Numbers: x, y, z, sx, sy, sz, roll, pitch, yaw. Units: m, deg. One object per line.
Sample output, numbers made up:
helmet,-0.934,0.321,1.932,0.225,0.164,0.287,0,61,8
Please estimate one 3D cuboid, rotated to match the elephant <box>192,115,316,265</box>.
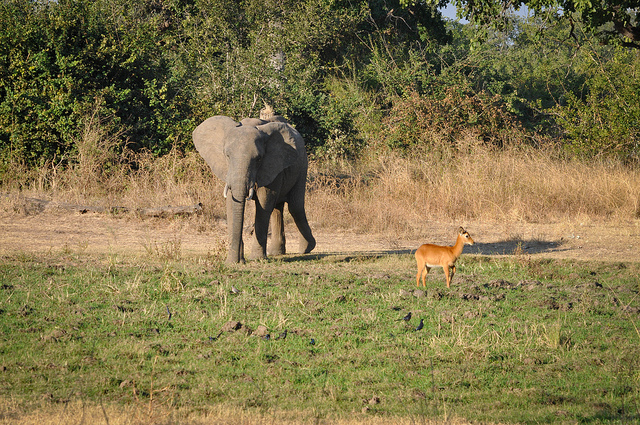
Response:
elephant,-1.477,-0.598,23.687,2.456,4.026,4.804,0,4,17
